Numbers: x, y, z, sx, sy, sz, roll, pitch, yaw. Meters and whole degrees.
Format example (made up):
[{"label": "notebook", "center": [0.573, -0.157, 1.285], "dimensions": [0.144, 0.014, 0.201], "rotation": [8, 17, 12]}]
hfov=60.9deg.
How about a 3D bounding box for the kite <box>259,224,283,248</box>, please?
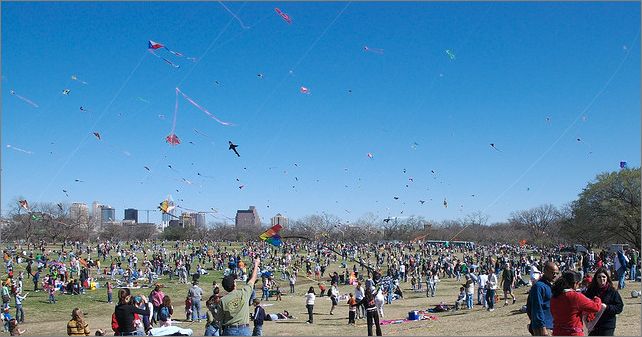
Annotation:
[{"label": "kite", "center": [-4.328, 5.953, 48.343], "dimensions": [1.666, 2.091, 3.371], "rotation": [0, -14, -7]}]
